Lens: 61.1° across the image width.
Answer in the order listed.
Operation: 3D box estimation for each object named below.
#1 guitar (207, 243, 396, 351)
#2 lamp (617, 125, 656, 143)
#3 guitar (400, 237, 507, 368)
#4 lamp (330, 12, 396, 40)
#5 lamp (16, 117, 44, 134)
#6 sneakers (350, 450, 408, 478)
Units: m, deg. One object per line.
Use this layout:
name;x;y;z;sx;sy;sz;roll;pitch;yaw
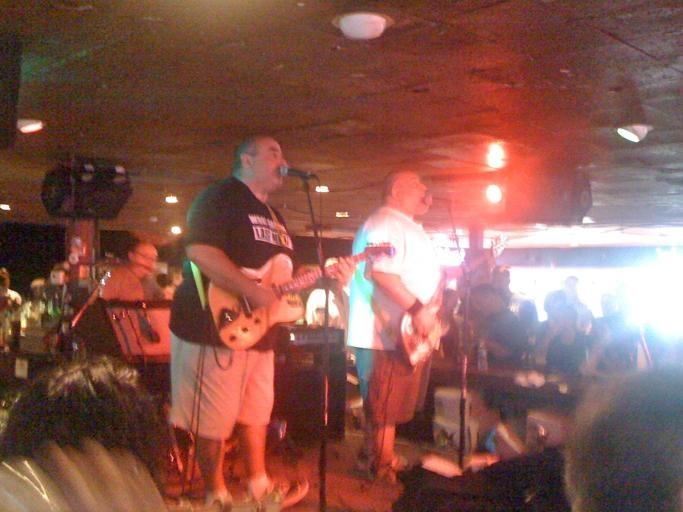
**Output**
guitar;-0.190;0.233;3.025;0.993;0.363;0.139;-19;3;-34
lamp;2.438;-1.014;4.744;0.273;0.117;0.366;3;-1;26
guitar;0.828;0.355;4.092;0.168;0.459;1.230;24;18;18
lamp;0.107;-1.184;2.981;0.297;0.065;0.231;3;-1;-16
lamp;-2.474;-1.025;4.544;0.217;0.053;0.150;-8;-7;9
sneakers;0.243;1.257;3.480;0.267;0.136;0.340;8;-8;-2
